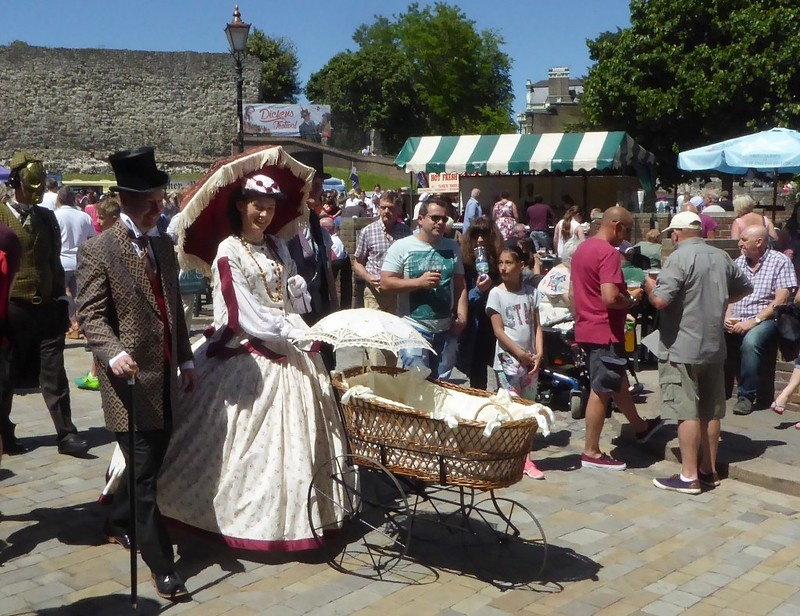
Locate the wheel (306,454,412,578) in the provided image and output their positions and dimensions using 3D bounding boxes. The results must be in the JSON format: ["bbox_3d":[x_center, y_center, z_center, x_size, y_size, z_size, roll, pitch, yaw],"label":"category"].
[{"bbox_3d":[-0.271,1.322,5.730,0.549,0.548,0.129,47,-5,-2],"label":"wheel"}]

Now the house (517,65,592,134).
[{"bbox_3d":[14.857,-20.006,87.782,6.279,5.920,6.618,-5,13,-2],"label":"house"}]

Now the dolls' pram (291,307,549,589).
[{"bbox_3d":[0.248,0.841,5.691,1.815,1.702,0.887,0,6,40],"label":"dolls' pram"}]

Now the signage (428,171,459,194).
[{"bbox_3d":[1.369,-3.790,27.728,0.984,0.650,1.050,0,5,2],"label":"signage"}]

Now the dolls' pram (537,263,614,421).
[{"bbox_3d":[2.023,0.340,8.795,0.891,1.463,1.333,-3,-7,27],"label":"dolls' pram"}]

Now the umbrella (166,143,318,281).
[{"bbox_3d":[-1.024,-0.722,6.029,0.907,0.907,0.344,-22,58,-36],"label":"umbrella"}]
